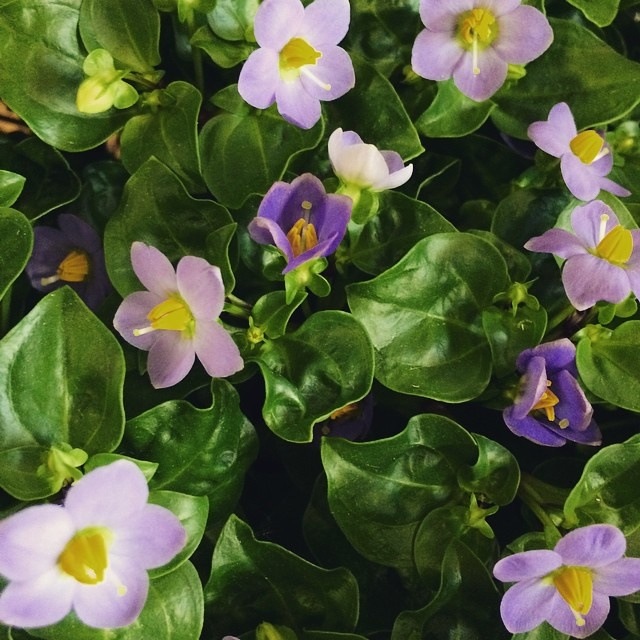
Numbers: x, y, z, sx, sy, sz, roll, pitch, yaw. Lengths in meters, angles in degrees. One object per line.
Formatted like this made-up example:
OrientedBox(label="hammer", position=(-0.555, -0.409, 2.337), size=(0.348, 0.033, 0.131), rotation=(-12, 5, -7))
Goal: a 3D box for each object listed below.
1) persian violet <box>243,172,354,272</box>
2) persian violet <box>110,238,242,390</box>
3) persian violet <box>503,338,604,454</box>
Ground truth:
OrientedBox(label="persian violet", position=(-0.010, -0.106, 0.864), size=(0.124, 0.104, 0.071), rotation=(6, 7, 0))
OrientedBox(label="persian violet", position=(-0.111, -0.016, 0.881), size=(0.074, 0.152, 0.150), rotation=(-21, 93, -51))
OrientedBox(label="persian violet", position=(0.268, 0.081, 0.882), size=(0.105, 0.108, 0.085), rotation=(14, 46, -8))
